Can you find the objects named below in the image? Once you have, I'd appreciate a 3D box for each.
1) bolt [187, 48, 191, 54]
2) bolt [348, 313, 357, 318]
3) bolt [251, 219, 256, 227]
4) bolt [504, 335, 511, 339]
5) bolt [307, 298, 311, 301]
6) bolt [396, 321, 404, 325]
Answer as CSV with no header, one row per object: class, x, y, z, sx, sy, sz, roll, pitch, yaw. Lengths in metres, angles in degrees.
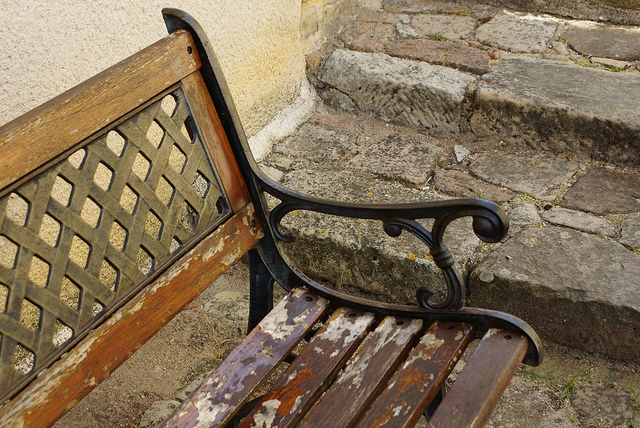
bolt,-0.435,-0.548,1.733,0.015,0.018,0.010,-28,54,-21
bolt,0.124,0.379,1.939,0.031,0.004,0.021,1,50,1
bolt,-0.256,0.034,2.003,0.017,0.026,0.022,-5,49,-3
bolt,0.639,0.417,1.762,0.020,0.005,0.013,0,50,0
bolt,-0.040,0.328,1.993,0.012,0.001,0.013,-8,50,-6
bolt,0.295,0.395,1.887,0.023,0.006,0.017,3,50,2
